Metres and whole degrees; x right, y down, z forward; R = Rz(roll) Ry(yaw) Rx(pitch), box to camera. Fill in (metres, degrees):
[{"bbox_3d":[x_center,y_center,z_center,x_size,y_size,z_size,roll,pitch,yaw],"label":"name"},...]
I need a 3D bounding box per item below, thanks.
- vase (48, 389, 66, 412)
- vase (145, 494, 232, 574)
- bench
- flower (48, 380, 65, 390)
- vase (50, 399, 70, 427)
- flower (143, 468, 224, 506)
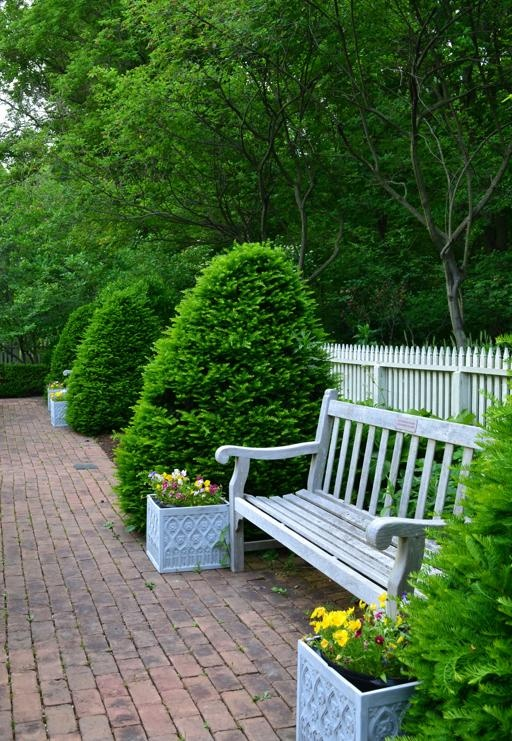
[{"bbox_3d":[-3.738,0.556,12.401,0.304,0.332,0.535,1,-1,-19],"label":"vase"},{"bbox_3d":[-0.419,0.998,4.136,0.474,0.369,0.435,1,-2,-16],"label":"vase"},{"bbox_3d":[0.413,0.722,3.285,0.732,0.993,1.741,-7,4,-19],"label":"bench"},{"bbox_3d":[-4.212,0.326,13.866,0.282,0.186,0.318,1,-1,1],"label":"flower"},{"bbox_3d":[-3.609,0.792,12.065,0.253,0.471,0.294,-2,3,-16],"label":"vase"},{"bbox_3d":[-0.483,0.732,4.158,0.275,0.163,0.325,3,6,-27],"label":"flower"}]
